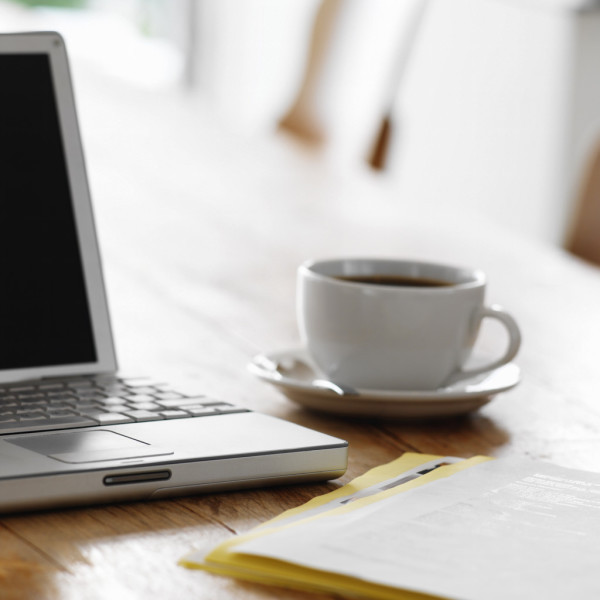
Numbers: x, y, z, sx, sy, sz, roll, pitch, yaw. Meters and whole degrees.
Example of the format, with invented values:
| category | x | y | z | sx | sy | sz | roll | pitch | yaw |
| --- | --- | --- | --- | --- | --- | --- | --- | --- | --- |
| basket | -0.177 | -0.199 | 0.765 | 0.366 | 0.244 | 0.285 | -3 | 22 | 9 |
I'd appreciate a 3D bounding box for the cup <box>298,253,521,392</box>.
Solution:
| category | x | y | z | sx | sy | sz | roll | pitch | yaw |
| --- | --- | --- | --- | --- | --- | --- | --- | --- | --- |
| cup | 0.074 | 0.021 | 0.481 | 0.136 | 0.069 | 0.150 | -1 | 16 | 0 |
